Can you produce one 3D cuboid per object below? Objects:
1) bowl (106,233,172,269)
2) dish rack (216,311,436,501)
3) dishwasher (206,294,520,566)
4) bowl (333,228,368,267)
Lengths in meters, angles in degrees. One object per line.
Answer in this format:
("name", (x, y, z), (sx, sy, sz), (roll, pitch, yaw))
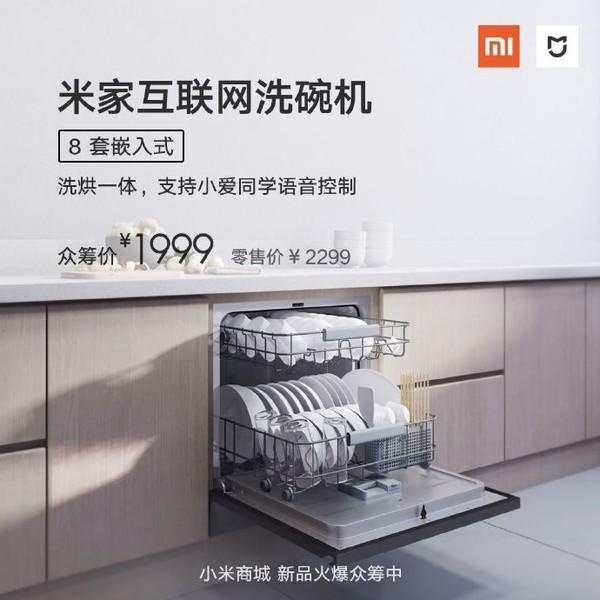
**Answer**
("bowl", (-0.427, -0.134, 1.639), (0.101, 0.073, 0.114), (-1, -6, 0))
("dish rack", (0.030, 0.166, 1.412), (0.377, 0.365, 0.421), (1, 2, -33))
("dishwasher", (0.084, 0.234, 1.413), (0.477, 0.432, 0.600), (0, -4, -33))
("bowl", (0.169, -0.172, 2.113), (0.106, 0.119, 0.078), (-1, 4, -4))
